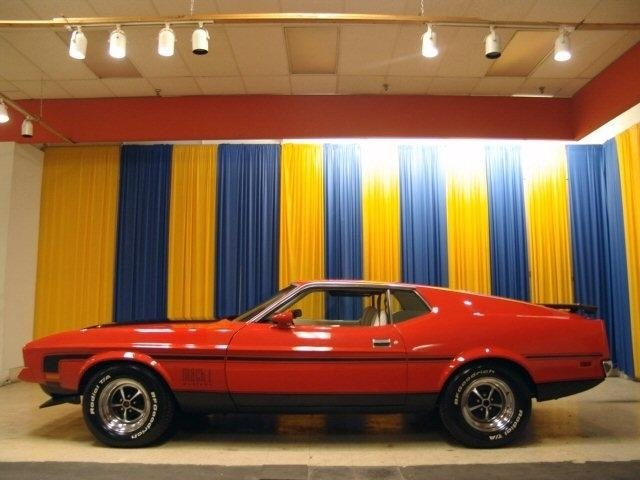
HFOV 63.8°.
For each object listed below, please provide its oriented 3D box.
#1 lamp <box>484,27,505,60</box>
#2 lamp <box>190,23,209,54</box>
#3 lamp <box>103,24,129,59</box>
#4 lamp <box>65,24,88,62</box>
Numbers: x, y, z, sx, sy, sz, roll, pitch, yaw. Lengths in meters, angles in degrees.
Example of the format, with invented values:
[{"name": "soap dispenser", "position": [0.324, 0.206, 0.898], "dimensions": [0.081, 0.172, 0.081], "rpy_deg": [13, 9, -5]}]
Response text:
[{"name": "lamp", "position": [1.761, -1.982, 5.187], "dimensions": [0.135, 0.316, 0.246], "rpy_deg": [0, 3, 17]}, {"name": "lamp", "position": [-1.217, -2.045, 5.228], "dimensions": [0.154, 0.390, 0.465], "rpy_deg": [-1, 3, -14]}, {"name": "lamp", "position": [-2.018, -1.974, 5.132], "dimensions": [0.172, 0.256, 0.184], "rpy_deg": [-6, -9, 40]}, {"name": "lamp", "position": [-2.447, -2.003, 5.175], "dimensions": [0.150, 0.402, 0.346], "rpy_deg": [-2, 3, -26]}]
